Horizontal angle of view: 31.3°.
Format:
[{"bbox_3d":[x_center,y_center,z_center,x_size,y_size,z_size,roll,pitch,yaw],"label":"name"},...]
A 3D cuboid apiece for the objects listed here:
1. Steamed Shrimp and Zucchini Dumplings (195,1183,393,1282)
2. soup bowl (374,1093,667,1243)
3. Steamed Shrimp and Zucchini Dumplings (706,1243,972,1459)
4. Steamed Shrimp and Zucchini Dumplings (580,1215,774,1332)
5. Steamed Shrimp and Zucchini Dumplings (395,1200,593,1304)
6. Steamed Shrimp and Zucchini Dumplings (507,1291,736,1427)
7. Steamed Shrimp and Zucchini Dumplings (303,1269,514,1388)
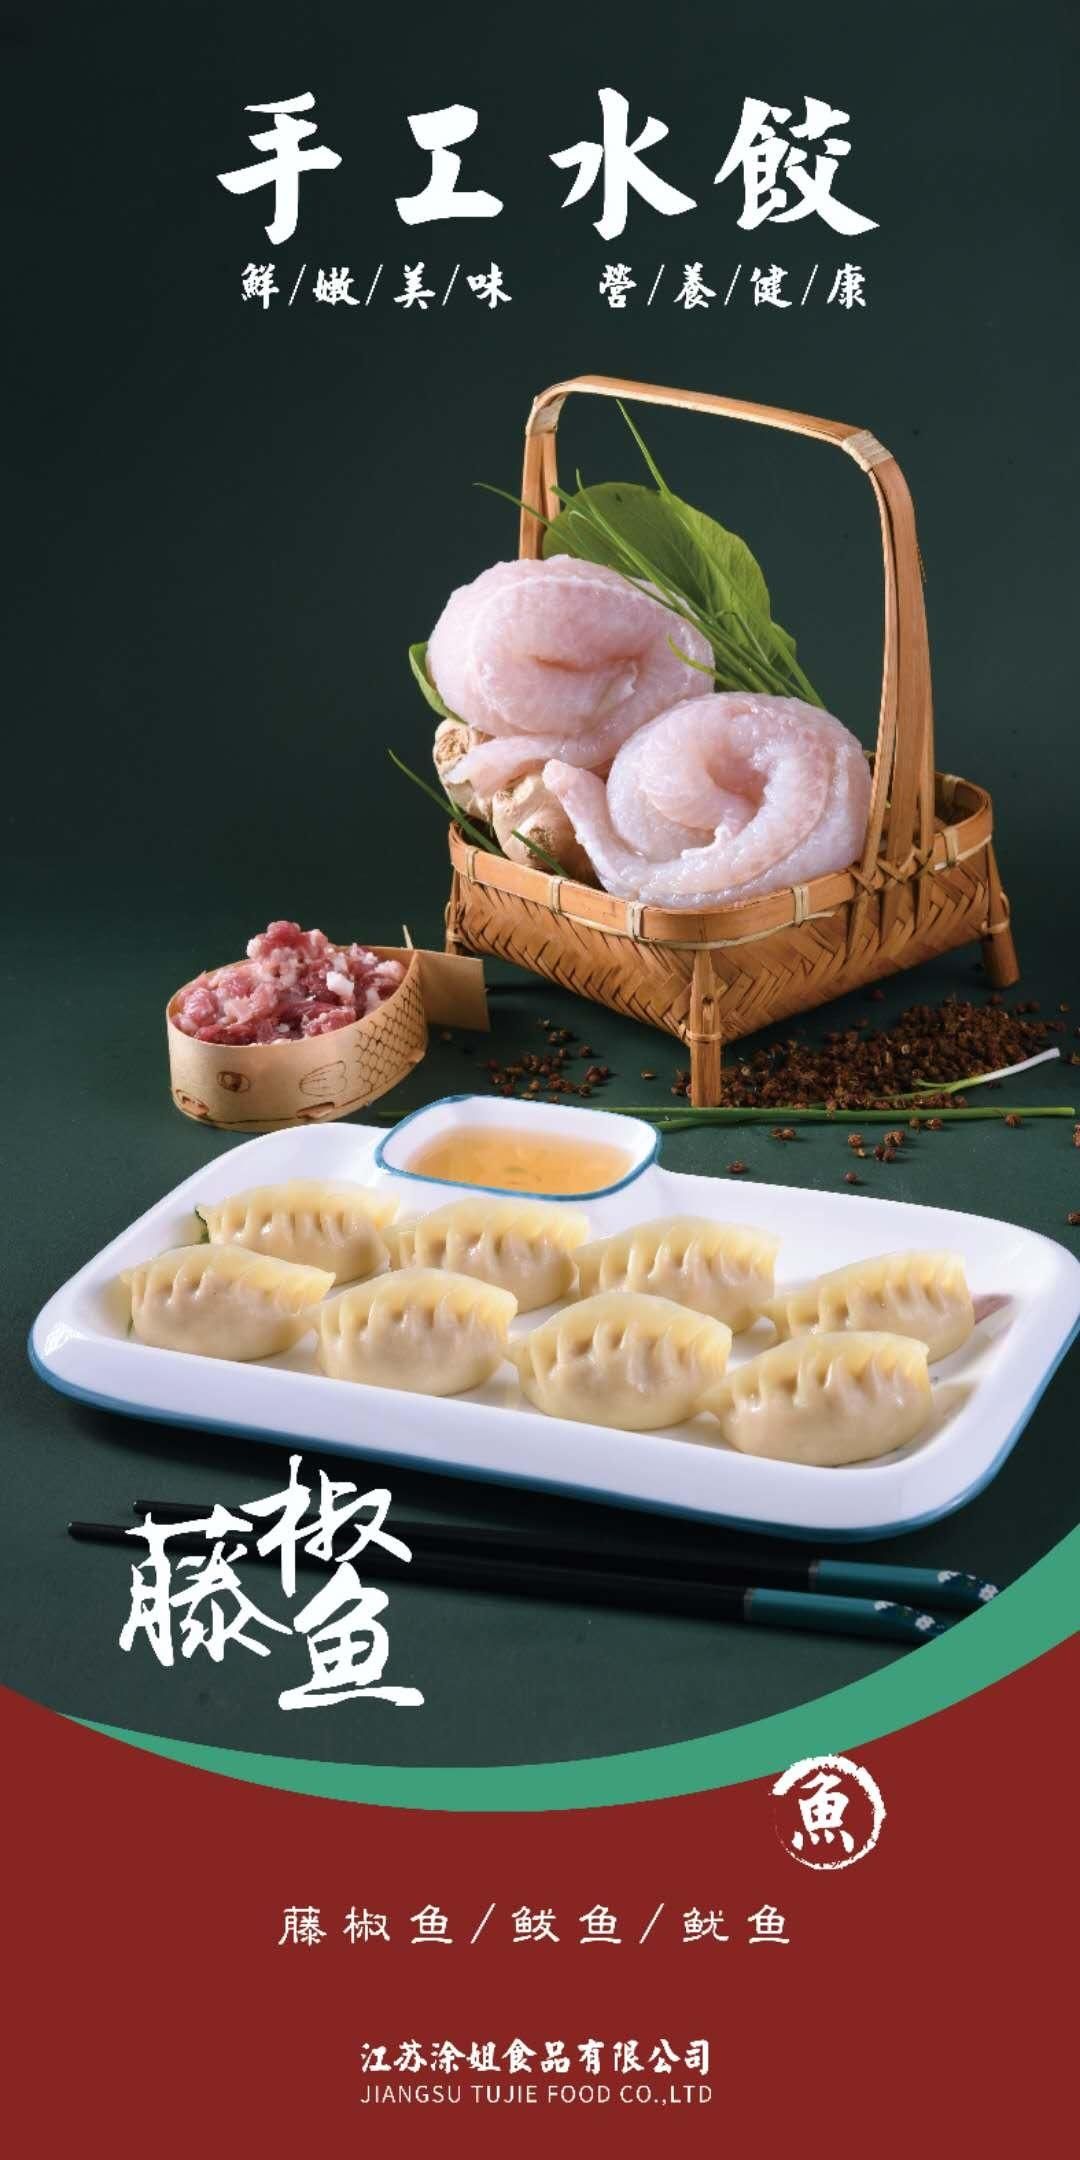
[{"bbox_3d":[-0.271,0.164,2.183,0.162,0.061,0.117,2,30,-1],"label":"Steamed Shrimp and Zucchini Dumplings"},{"bbox_3d":[-0.015,0.105,2.424,0.224,0.041,0.178,5,28,20],"label":"soup bowl"},{"bbox_3d":[0.308,0.256,1.845,0.159,0.078,0.230,7,36,25],"label":"Steamed Shrimp and Zucchini Dumplings"},{"bbox_3d":[0.161,0.198,2.044,0.134,0.060,0.148,12,22,15],"label":"Steamed Shrimp and Zucchini Dumplings"},{"bbox_3d":[-0.040,0.182,2.114,0.134,0.058,0.137,4,15,5],"label":"Steamed Shrimp and Zucchini Dumplings"},{"bbox_3d":[0.082,0.278,1.893,0.231,0.087,0.192,-1,19,-1],"label":"Steamed Shrimp and Zucchini Dumplings"},{"bbox_3d":[-0.123,0.252,1.956,0.132,0.079,0.127,1,0,2],"label":"Steamed Shrimp and Zucchini Dumplings"}]
